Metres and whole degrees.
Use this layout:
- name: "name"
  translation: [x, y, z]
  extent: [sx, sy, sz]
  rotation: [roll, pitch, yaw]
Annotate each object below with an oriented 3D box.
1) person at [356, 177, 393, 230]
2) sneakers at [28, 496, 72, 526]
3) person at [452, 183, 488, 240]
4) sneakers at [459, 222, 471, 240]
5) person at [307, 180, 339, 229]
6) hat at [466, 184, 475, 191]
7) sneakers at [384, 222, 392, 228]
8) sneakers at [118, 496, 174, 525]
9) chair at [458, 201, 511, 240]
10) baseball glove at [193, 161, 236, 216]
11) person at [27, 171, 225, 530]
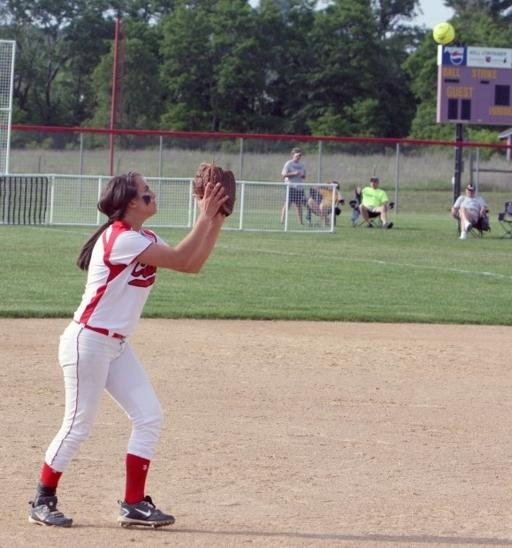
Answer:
- name: "person"
  translation: [2.382, -1.443, 24.029]
  extent: [0.667, 0.854, 1.436]
  rotation: [5, 15, -1]
- name: "sneakers"
  translation: [-1.227, 1.420, 7.147]
  extent: [0.333, 0.148, 0.118]
  rotation: [1, 0, 28]
- name: "person"
  translation: [3.868, -1.129, 21.606]
  extent: [0.545, 0.956, 0.893]
  rotation: [10, 12, 39]
- name: "sneakers"
  translation: [3.712, -0.787, 21.319]
  extent: [0.135, 0.386, 0.171]
  rotation: [8, 13, 14]
- name: "person"
  translation: [1.196, -1.310, 22.937]
  extent: [0.632, 0.701, 0.547]
  rotation: [0, -7, 8]
- name: "hat"
  translation: [3.815, -1.554, 21.303]
  extent: [0.150, 0.165, 0.182]
  rotation: [1, -8, 1]
- name: "sneakers"
  translation: [2.632, -0.948, 23.682]
  extent: [0.072, 0.083, 0.194]
  rotation: [-15, -24, -26]
- name: "sneakers"
  translation: [-0.665, 1.435, 7.201]
  extent: [0.334, 0.176, 0.134]
  rotation: [1, -3, 0]
- name: "chair"
  translation: [4.177, -0.980, 21.768]
  extent: [1.027, 0.888, 0.810]
  rotation: [5, 0, 7]
- name: "baseball glove"
  translation: [-0.216, -0.540, 7.330]
  extent: [0.217, 0.339, 0.128]
  rotation: [-12, 8, 36]
- name: "person"
  translation: [-0.785, 0.446, 7.193]
  extent: [1.081, 2.064, 0.579]
  rotation: [2, 10, -4]
